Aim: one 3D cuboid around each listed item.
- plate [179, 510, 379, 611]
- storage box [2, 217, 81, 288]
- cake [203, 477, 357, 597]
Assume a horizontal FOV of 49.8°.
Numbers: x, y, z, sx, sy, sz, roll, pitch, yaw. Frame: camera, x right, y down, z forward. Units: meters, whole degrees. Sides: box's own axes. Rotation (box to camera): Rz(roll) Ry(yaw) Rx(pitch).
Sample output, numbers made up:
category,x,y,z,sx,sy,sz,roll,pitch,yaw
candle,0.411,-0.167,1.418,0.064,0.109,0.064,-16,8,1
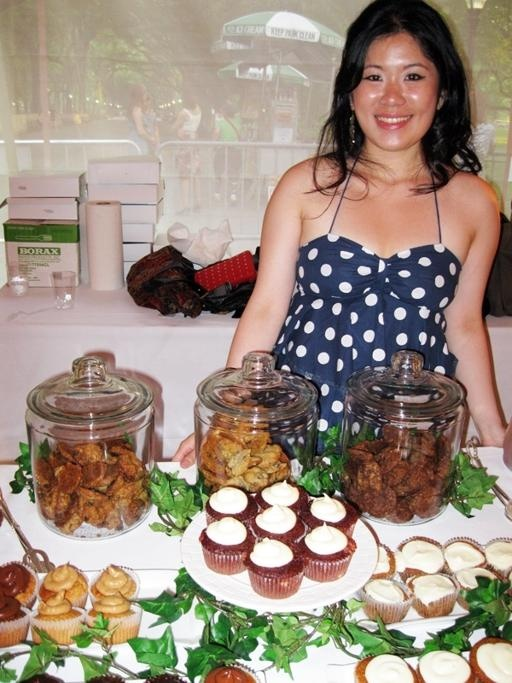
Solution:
category,x,y,z,sx,sy,sz,roll,pitch,yaw
plate,0.025,0.239,0.608,0.222,0.018,0.166,0,15,1
storage box,-0.883,-0.371,2.277,0.327,0.273,0.171,0,23,-6
cake,0.025,0.209,0.602,0.118,0.037,0.108,2,16,2
